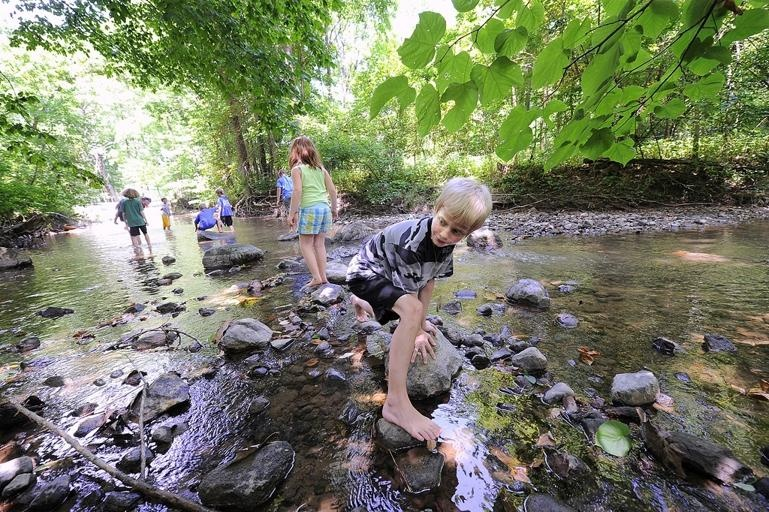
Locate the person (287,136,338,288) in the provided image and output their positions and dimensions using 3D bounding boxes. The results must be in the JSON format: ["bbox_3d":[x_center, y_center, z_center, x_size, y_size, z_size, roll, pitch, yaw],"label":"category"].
[{"bbox_3d":[-1.154,-0.651,5.191,0.756,2.045,0.731,2,8,35],"label":"person"}]

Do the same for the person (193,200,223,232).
[{"bbox_3d":[-5.358,-1.137,10.696,0.665,0.768,1.355,-9,9,-22],"label":"person"}]

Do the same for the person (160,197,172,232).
[{"bbox_3d":[-8.627,-1.649,13.891,0.313,1.276,1.040,-12,12,-31],"label":"person"}]

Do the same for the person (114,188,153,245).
[{"bbox_3d":[-6.971,-1.036,9.748,0.642,1.543,1.537,-12,12,-33],"label":"person"}]

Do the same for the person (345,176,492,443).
[{"bbox_3d":[0.317,0.340,2.981,1.052,1.922,1.097,-8,10,-17],"label":"person"}]
